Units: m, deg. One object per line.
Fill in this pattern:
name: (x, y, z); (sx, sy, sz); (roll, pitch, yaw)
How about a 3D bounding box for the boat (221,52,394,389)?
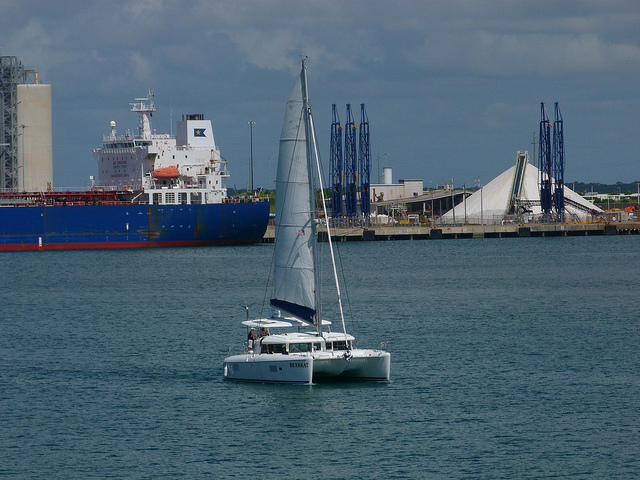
boat: (-1.169, -1.260, 114.525); (5.906, 20.838, 12.958); (2, -3, -32)
